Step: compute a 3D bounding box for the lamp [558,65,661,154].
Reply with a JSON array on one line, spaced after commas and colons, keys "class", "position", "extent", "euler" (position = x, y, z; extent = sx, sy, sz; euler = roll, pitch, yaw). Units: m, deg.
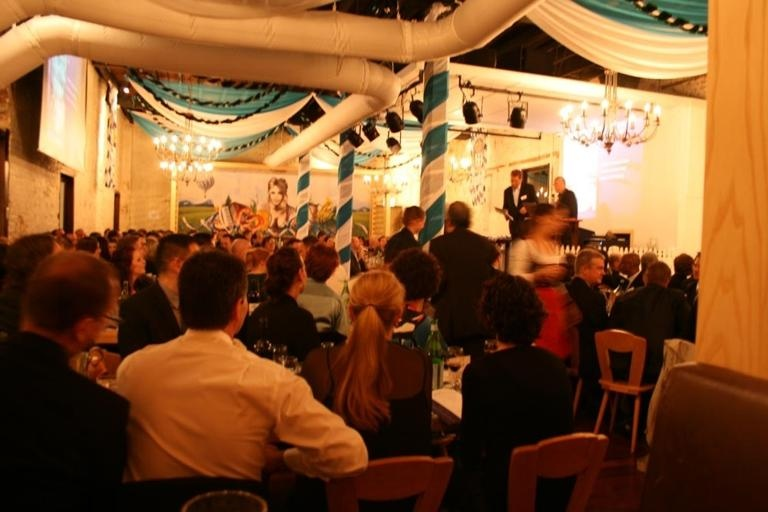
[{"class": "lamp", "position": [3.780, -2.544, 10.305], "extent": [1.326, 1.704, 1.375], "euler": [2, 0, 41]}]

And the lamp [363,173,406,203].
[{"class": "lamp", "position": [0.209, -2.414, 23.158], "extent": [1.252, 1.298, 1.257], "euler": [-2, 8, -21]}]

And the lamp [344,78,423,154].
[{"class": "lamp", "position": [-0.026, -2.583, 11.516], "extent": [1.159, 1.029, 4.422], "euler": [3, 3, -4]}]
